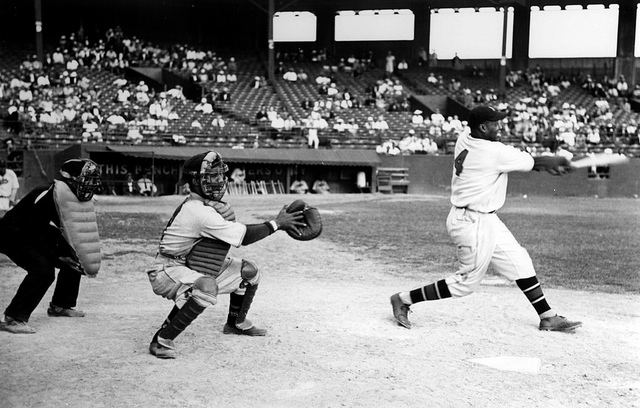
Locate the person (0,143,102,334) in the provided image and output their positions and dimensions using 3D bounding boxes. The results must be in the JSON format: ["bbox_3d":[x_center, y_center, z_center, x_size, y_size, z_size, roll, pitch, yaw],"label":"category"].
[{"bbox_3d":[-4.322,0.643,13.887,1.562,2.711,0.707,-2,10,-14],"label":"person"}]

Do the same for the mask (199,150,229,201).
[{"bbox_3d":[-1.617,-0.450,13.604,0.619,0.728,0.744,0,0,-22],"label":"mask"}]

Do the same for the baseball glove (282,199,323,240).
[{"bbox_3d":[-0.255,0.243,13.661,0.547,0.620,0.255,-17,3,-13],"label":"baseball glove"}]

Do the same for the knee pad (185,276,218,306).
[{"bbox_3d":[-1.807,1.313,13.220,0.356,0.184,0.443,27,-18,-25],"label":"knee pad"}]

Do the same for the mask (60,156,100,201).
[{"bbox_3d":[-3.989,-0.458,14.226,0.789,0.675,0.617,13,2,1],"label":"mask"}]

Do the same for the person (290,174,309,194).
[{"bbox_3d":[-0.588,-0.560,23.538,0.603,0.673,0.347,-1,-10,2],"label":"person"}]
